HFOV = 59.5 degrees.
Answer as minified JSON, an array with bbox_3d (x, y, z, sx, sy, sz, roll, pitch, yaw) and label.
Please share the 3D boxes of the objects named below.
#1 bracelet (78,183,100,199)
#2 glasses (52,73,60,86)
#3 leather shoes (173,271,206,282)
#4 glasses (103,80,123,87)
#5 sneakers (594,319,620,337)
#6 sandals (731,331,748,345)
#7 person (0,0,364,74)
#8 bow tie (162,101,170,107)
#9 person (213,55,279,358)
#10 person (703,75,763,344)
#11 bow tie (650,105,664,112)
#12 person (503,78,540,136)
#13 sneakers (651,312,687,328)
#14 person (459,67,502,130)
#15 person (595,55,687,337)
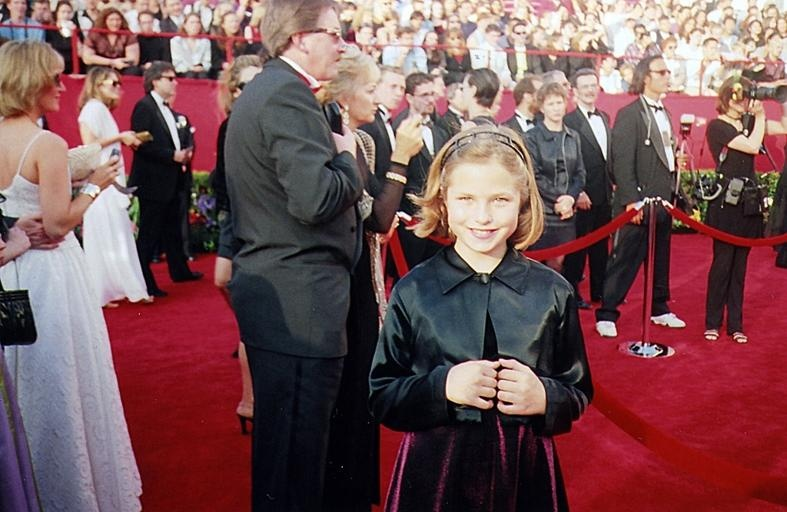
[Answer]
[{"bbox_3d":[-1.771,-0.376,3.986,0.069,0.049,0.074,20,-11,25],"label":"bracelet"},{"bbox_3d":[-1.897,-0.988,3.874,0.021,0.044,0.057,-1,8,-8],"label":"glasses"},{"bbox_3d":[-2.508,0.260,8.422,0.360,0.154,0.118,-11,22,-29],"label":"leather shoes"},{"bbox_3d":[-2.949,-1.806,7.199,0.109,0.034,0.111,1,5,17],"label":"glasses"},{"bbox_3d":[2.075,0.695,6.592,0.266,0.137,0.218,1,7,-12],"label":"sneakers"},{"bbox_3d":[3.214,0.766,6.380,0.082,0.059,0.143,6,11,6],"label":"sandals"},{"bbox_3d":[-2.862,-2.577,8.095,3.350,0.677,0.518,-4,6,-26],"label":"person"},{"bbox_3d":[-2.642,-1.761,7.964,0.090,0.089,0.024,3,-3,-39],"label":"bow tie"},{"bbox_3d":[-1.145,-0.168,4.969,0.668,2.290,0.616,-2,-13,-10],"label":"person"},{"bbox_3d":[3.199,-0.435,6.518,0.548,2.437,0.631,5,7,28],"label":"person"},{"bbox_3d":[2.563,-1.444,6.726,0.143,0.048,0.048,-8,23,-35],"label":"bow tie"},{"bbox_3d":[1.448,-1.648,7.676,0.418,0.770,0.869,6,23,10],"label":"person"},{"bbox_3d":[2.743,0.636,6.866,0.324,0.136,0.133,1,8,17],"label":"sneakers"},{"bbox_3d":[0.905,-1.648,7.182,0.429,0.724,0.453,0,15,0],"label":"person"},{"bbox_3d":[2.469,-0.612,6.729,0.746,2.725,0.966,5,7,25],"label":"person"}]
